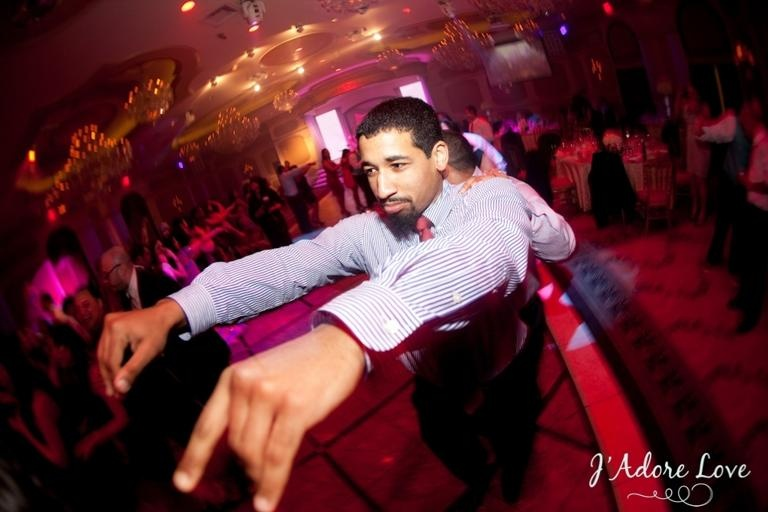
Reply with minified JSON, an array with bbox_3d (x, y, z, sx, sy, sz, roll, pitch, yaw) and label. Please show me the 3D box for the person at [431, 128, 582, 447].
[{"bbox_3d":[0.359,0.098,1.510,0.365,0.369,0.792,-1,61,23],"label":"person"}]
